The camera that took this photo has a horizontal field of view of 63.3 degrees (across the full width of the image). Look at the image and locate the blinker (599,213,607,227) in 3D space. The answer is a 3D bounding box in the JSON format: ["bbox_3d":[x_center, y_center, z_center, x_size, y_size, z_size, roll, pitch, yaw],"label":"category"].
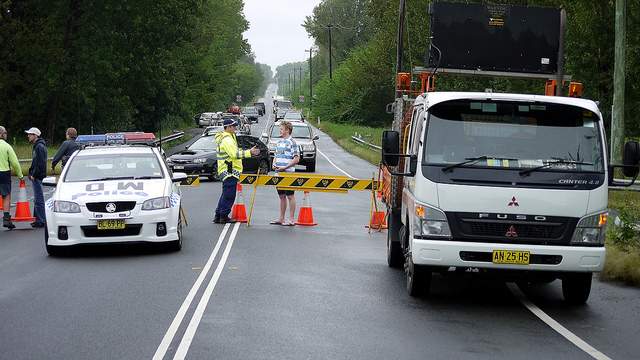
[{"bbox_3d":[4.994,0.706,9.232,0.173,0.169,0.052,4,4,24],"label":"blinker"}]

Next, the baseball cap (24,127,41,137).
[{"bbox_3d":[-8.792,-1.517,16.058,0.466,0.187,0.297,12,2,-19],"label":"baseball cap"}]

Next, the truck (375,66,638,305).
[{"bbox_3d":[3.429,0.232,12.150,3.034,3.024,6.058,2,-2,2],"label":"truck"}]

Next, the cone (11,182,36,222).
[{"bbox_3d":[-9.502,0.673,16.622,0.643,1.329,1.085,-3,8,-31],"label":"cone"}]

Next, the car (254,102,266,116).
[{"bbox_3d":[-12.668,-14.991,108.254,2.286,1.968,4.066,-1,1,-5],"label":"car"}]

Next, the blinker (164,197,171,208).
[{"bbox_3d":[-3.680,0.543,12.567,0.143,0.229,0.195,-1,7,-15],"label":"blinker"}]

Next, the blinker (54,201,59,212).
[{"bbox_3d":[-6.176,0.614,12.217,0.096,0.201,0.204,-2,8,-26],"label":"blinker"}]

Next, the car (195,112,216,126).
[{"bbox_3d":[-16.735,-8.882,75.913,2.200,1.573,4.145,0,4,-3],"label":"car"}]

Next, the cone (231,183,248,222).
[{"bbox_3d":[-2.513,0.676,16.186,0.496,1.219,0.939,0,7,-10],"label":"cone"}]

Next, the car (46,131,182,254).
[{"bbox_3d":[-5.564,-0.076,14.446,3.291,2.481,5.403,-2,14,-21],"label":"car"}]

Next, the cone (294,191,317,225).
[{"bbox_3d":[-0.450,0.834,16.120,0.658,1.123,0.857,3,7,19],"label":"cone"}]
